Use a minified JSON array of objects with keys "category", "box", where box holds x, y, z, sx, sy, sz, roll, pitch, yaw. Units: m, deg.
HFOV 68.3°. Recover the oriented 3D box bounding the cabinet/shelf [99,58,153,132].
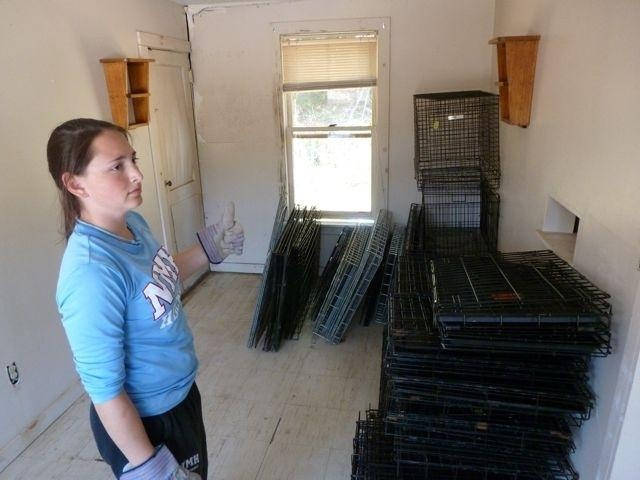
[{"category":"cabinet/shelf","box":[-1.508,-1.170,3.750,0.228,0.519,0.515,6,19,5]}]
